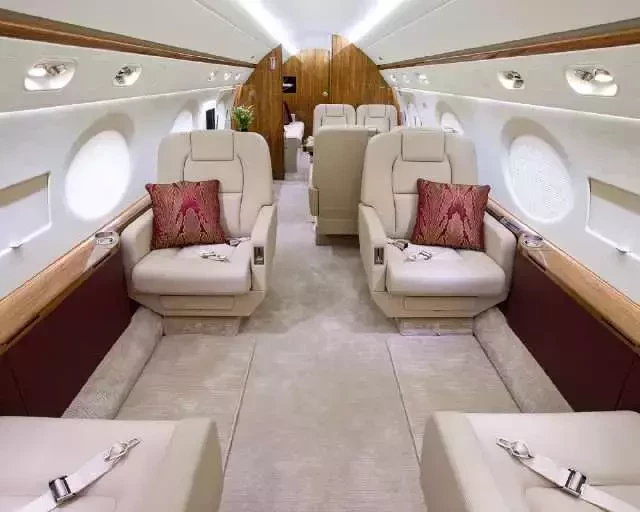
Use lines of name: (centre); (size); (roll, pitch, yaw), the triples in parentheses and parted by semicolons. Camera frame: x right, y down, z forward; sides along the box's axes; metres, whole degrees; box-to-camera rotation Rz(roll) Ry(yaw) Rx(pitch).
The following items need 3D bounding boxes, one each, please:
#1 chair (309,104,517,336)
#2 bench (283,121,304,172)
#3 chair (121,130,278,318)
chair: (0.677, -0.326, 3.410); (1.005, 1.387, 1.849); (-6, 20, -16)
bench: (-0.496, -2.043, 7.734); (0.347, 0.716, 1.740); (-1, 19, -3)
chair: (-0.840, -0.236, 2.975); (0.952, 1.256, 0.819); (0, 18, 1)
